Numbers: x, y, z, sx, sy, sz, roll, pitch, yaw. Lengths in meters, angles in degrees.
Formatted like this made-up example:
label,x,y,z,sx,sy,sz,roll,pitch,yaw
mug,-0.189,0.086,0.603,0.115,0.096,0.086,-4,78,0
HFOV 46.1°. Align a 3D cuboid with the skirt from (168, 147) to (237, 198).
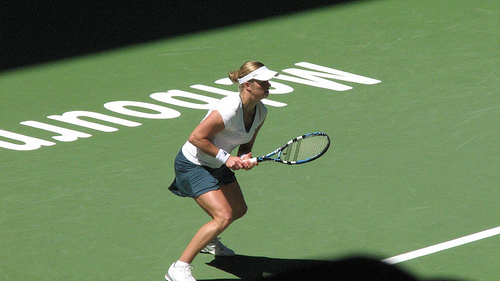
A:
label,x,y,z,sx,sy,sz,roll,pitch,yaw
skirt,-0.807,0.619,10.153,0.979,0.676,1.203,-5,-2,1
